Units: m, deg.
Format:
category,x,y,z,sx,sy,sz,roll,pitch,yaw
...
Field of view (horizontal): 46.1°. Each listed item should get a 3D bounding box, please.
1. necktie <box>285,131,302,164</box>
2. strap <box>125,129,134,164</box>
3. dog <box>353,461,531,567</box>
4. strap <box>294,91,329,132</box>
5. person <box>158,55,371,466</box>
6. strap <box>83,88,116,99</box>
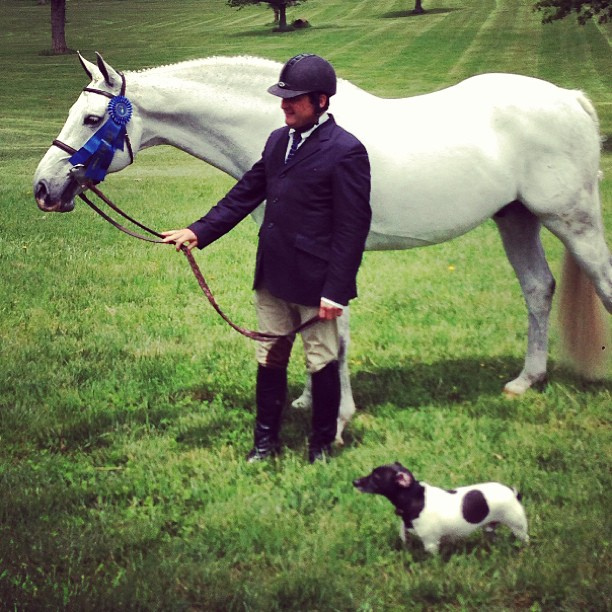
category,x,y,z,sx,sy,sz,roll,pitch,yaw
necktie,-0.079,-0.915,4.146,0.076,0.173,0.083,-13,27,-35
strap,-1.165,-1.054,4.759,0.034,0.187,0.031,-13,-6,34
dog,0.761,1.145,4.006,1.017,0.497,0.326,0,2,-16
strap,0.051,-1.081,4.031,0.177,0.184,0.089,2,4,-4
person,-0.144,-0.235,4.519,1.124,2.535,0.921,9,23,13
strap,-1.318,-1.361,4.622,0.204,0.057,0.065,0,20,-7
